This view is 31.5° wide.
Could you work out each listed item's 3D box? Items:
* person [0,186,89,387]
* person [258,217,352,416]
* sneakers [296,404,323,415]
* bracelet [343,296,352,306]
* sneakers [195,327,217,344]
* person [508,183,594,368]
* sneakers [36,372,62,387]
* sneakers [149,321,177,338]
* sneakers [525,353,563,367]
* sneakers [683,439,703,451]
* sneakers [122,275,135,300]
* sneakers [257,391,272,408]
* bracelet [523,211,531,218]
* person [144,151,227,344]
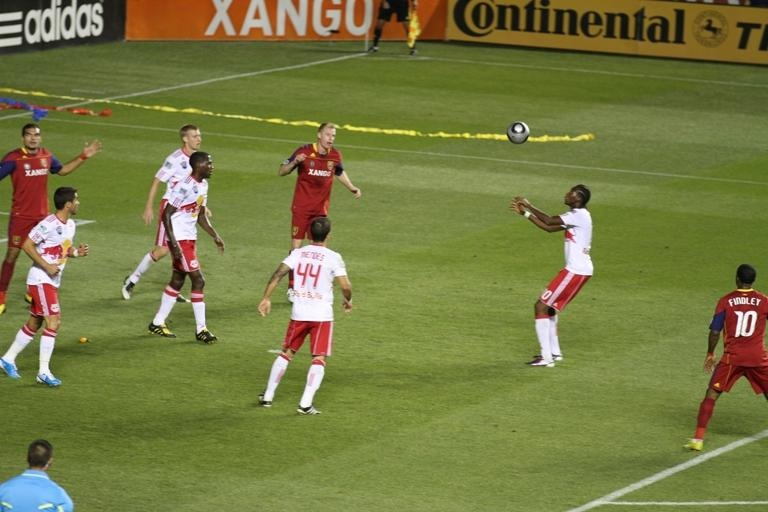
[{"bbox_3d":[-4.584,0.402,18.117,0.912,2.663,0.556,4,10,-11],"label":"person"},{"bbox_3d":[-1.068,0.769,17.723,1.146,2.571,0.802,3,10,-19],"label":"person"},{"bbox_3d":[-0.982,2.016,17.763,0.354,0.096,0.107,0,6,-22],"label":"sneakers"},{"bbox_3d":[-0.481,0.594,17.618,0.155,0.147,0.048,2,47,4],"label":"bracelet"},{"bbox_3d":[-2.559,1.154,19.474,0.377,0.132,0.177,3,9,33],"label":"sneakers"},{"bbox_3d":[2.385,0.263,19.222,1.045,2.566,0.731,7,10,4],"label":"person"},{"bbox_3d":[-4.489,1.660,18.168,0.420,0.127,0.132,4,16,11],"label":"sneakers"},{"bbox_3d":[-3.280,1.069,19.623,0.540,0.164,0.157,9,12,-11],"label":"sneakers"},{"bbox_3d":[2.261,1.481,19.197,0.586,0.149,0.172,0,4,-2],"label":"sneakers"},{"bbox_3d":[3.948,2.387,17.325,0.240,0.170,0.252,6,8,13],"label":"sneakers"},{"bbox_3d":[-3.889,0.483,20.691,0.251,0.352,0.161,9,10,-7],"label":"sneakers"},{"bbox_3d":[-1.579,1.921,17.860,0.116,0.093,0.281,-3,10,-19],"label":"sneakers"},{"bbox_3d":[2.031,-0.584,19.170,0.123,0.056,0.100,-5,16,-19],"label":"bracelet"},{"bbox_3d":[-2.817,-0.153,19.656,0.958,2.734,0.947,5,10,-6],"label":"person"}]
